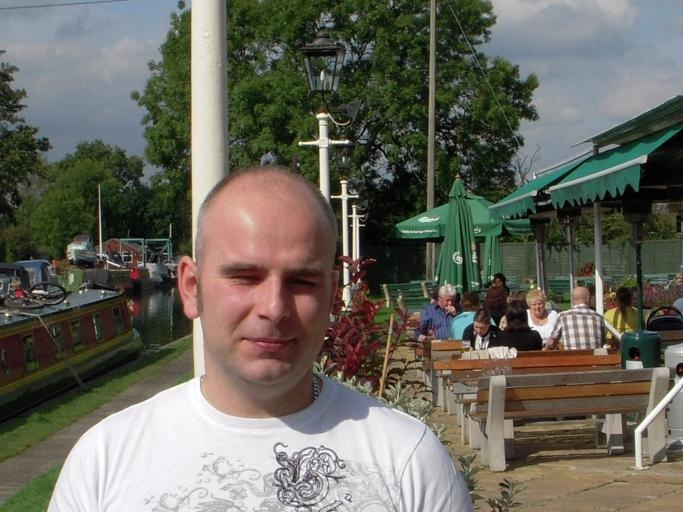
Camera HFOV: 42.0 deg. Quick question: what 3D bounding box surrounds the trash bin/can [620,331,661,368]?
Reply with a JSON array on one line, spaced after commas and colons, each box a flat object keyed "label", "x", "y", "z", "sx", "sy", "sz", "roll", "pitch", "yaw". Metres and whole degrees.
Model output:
[{"label": "trash bin/can", "x": 3.256, "y": 1.034, "z": 9.815, "sx": 0.369, "sy": 0.450, "sz": 0.402, "roll": 0, "pitch": -7, "yaw": 2}]

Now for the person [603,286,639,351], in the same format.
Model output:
[{"label": "person", "x": 3.956, "y": 0.841, "z": 12.447, "sx": 0.546, "sy": 0.797, "sz": 0.417, "roll": 0, "pitch": 5, "yaw": 35}]
